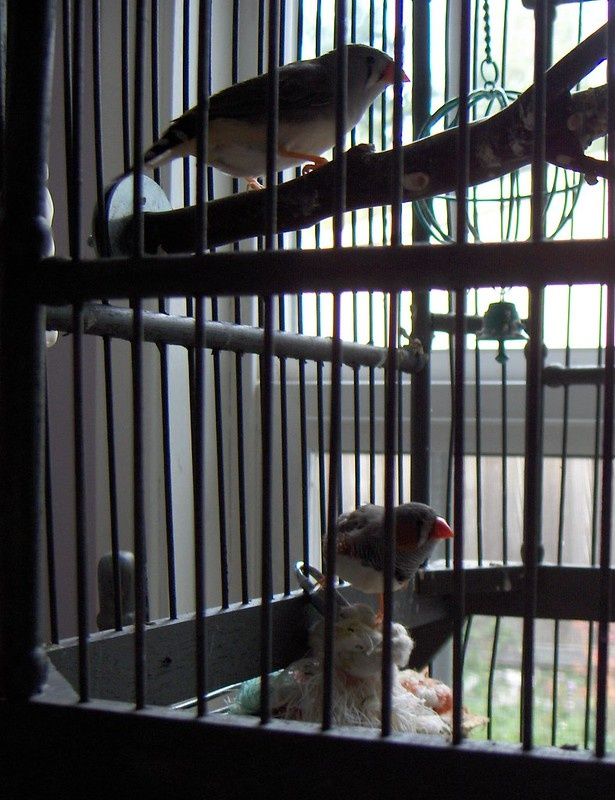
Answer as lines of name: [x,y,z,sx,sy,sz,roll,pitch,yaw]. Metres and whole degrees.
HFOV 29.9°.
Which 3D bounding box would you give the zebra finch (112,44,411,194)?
zebra finch: [-0.032,-0.298,1.239,0.275,0.182,0.113,-1,-23,-5]
